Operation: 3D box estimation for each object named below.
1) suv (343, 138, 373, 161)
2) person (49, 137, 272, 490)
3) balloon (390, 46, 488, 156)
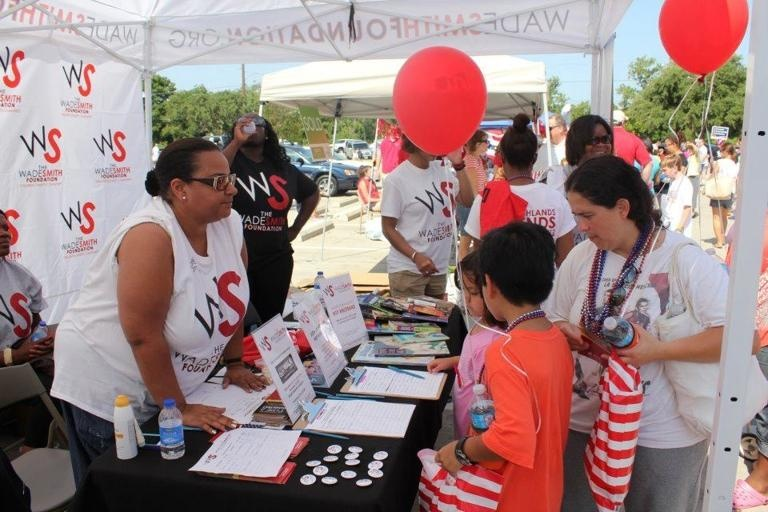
[{"bbox_3d":[-1.066,-4.882,24.669,1.078,0.968,1.853,-8,13,-27],"label":"suv"},{"bbox_3d":[-1.167,0.259,3.019,0.900,1.981,0.844,3,10,10],"label":"person"},{"bbox_3d":[0.316,-1.081,3.815,0.645,0.654,0.677,-9,31,-10],"label":"balloon"}]
